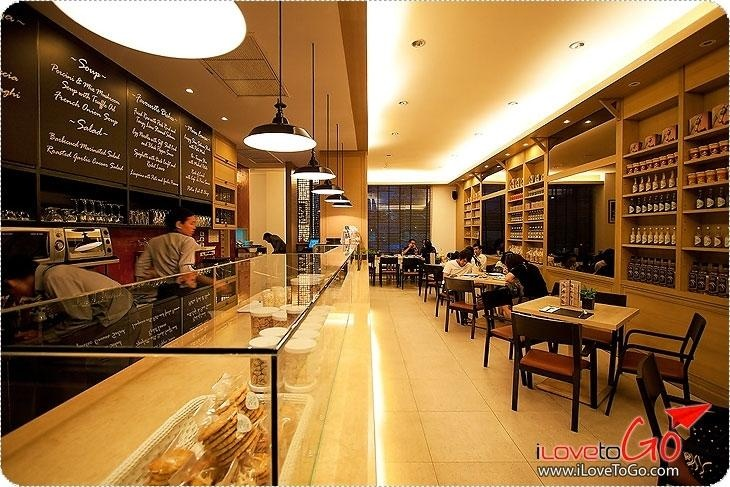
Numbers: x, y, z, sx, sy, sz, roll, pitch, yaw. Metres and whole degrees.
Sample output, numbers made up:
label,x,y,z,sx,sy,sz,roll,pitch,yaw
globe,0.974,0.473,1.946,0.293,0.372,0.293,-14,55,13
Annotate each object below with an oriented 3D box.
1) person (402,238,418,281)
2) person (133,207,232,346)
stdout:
label,x,y,z,sx,sy,sz,roll,pitch,yaw
person,1.180,0.396,11.880,0.623,1.028,0.643,0,8,-14
person,-2.062,0.307,5.206,0.623,1.427,0.864,16,11,35
